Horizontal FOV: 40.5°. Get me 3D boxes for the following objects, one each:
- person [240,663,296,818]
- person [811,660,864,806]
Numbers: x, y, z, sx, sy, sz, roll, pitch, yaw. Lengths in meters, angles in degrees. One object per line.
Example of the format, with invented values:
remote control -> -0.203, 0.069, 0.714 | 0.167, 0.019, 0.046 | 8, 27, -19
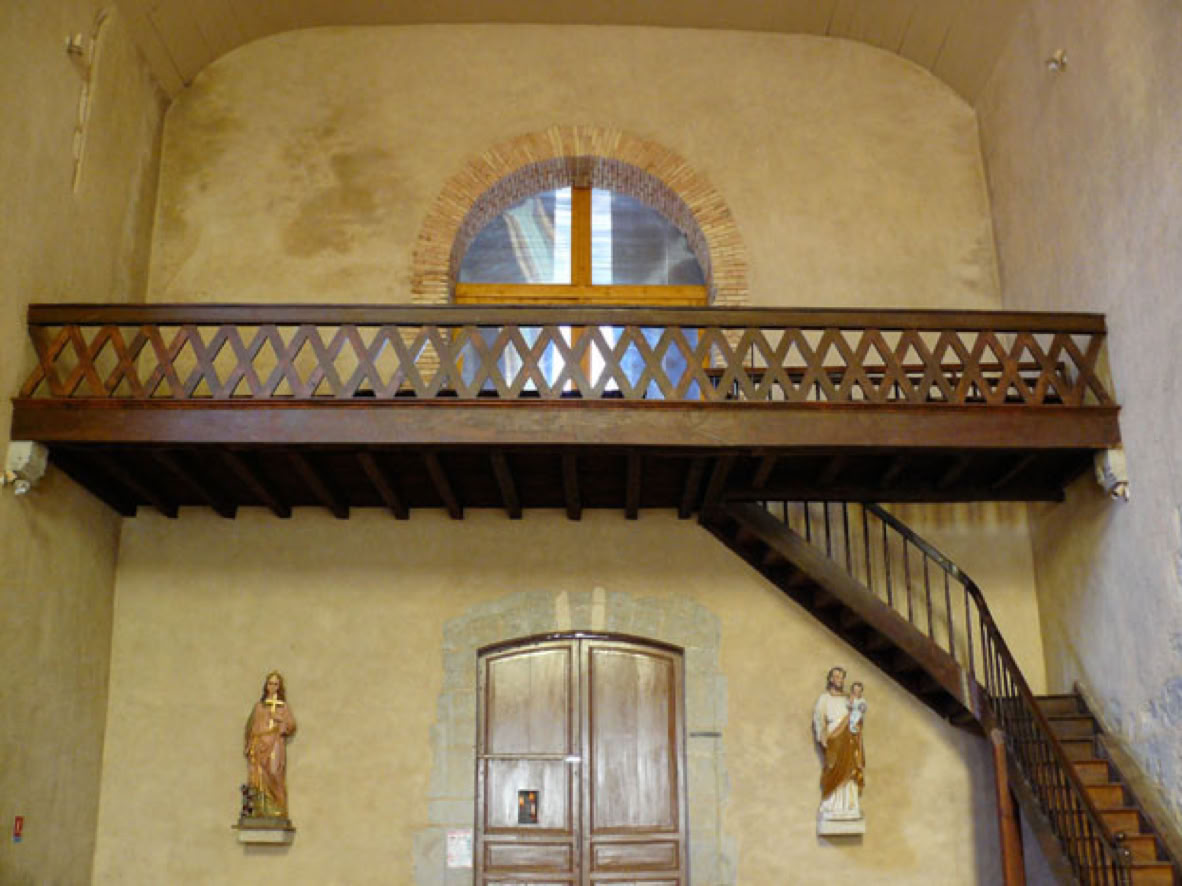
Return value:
person -> -3.067, 2.885, 15.340 | 0.479, 1.386, 0.318 | 5, -23, -12
person -> 2.371, 2.828, 15.360 | 0.475, 1.357, 0.510 | -4, -23, 8
